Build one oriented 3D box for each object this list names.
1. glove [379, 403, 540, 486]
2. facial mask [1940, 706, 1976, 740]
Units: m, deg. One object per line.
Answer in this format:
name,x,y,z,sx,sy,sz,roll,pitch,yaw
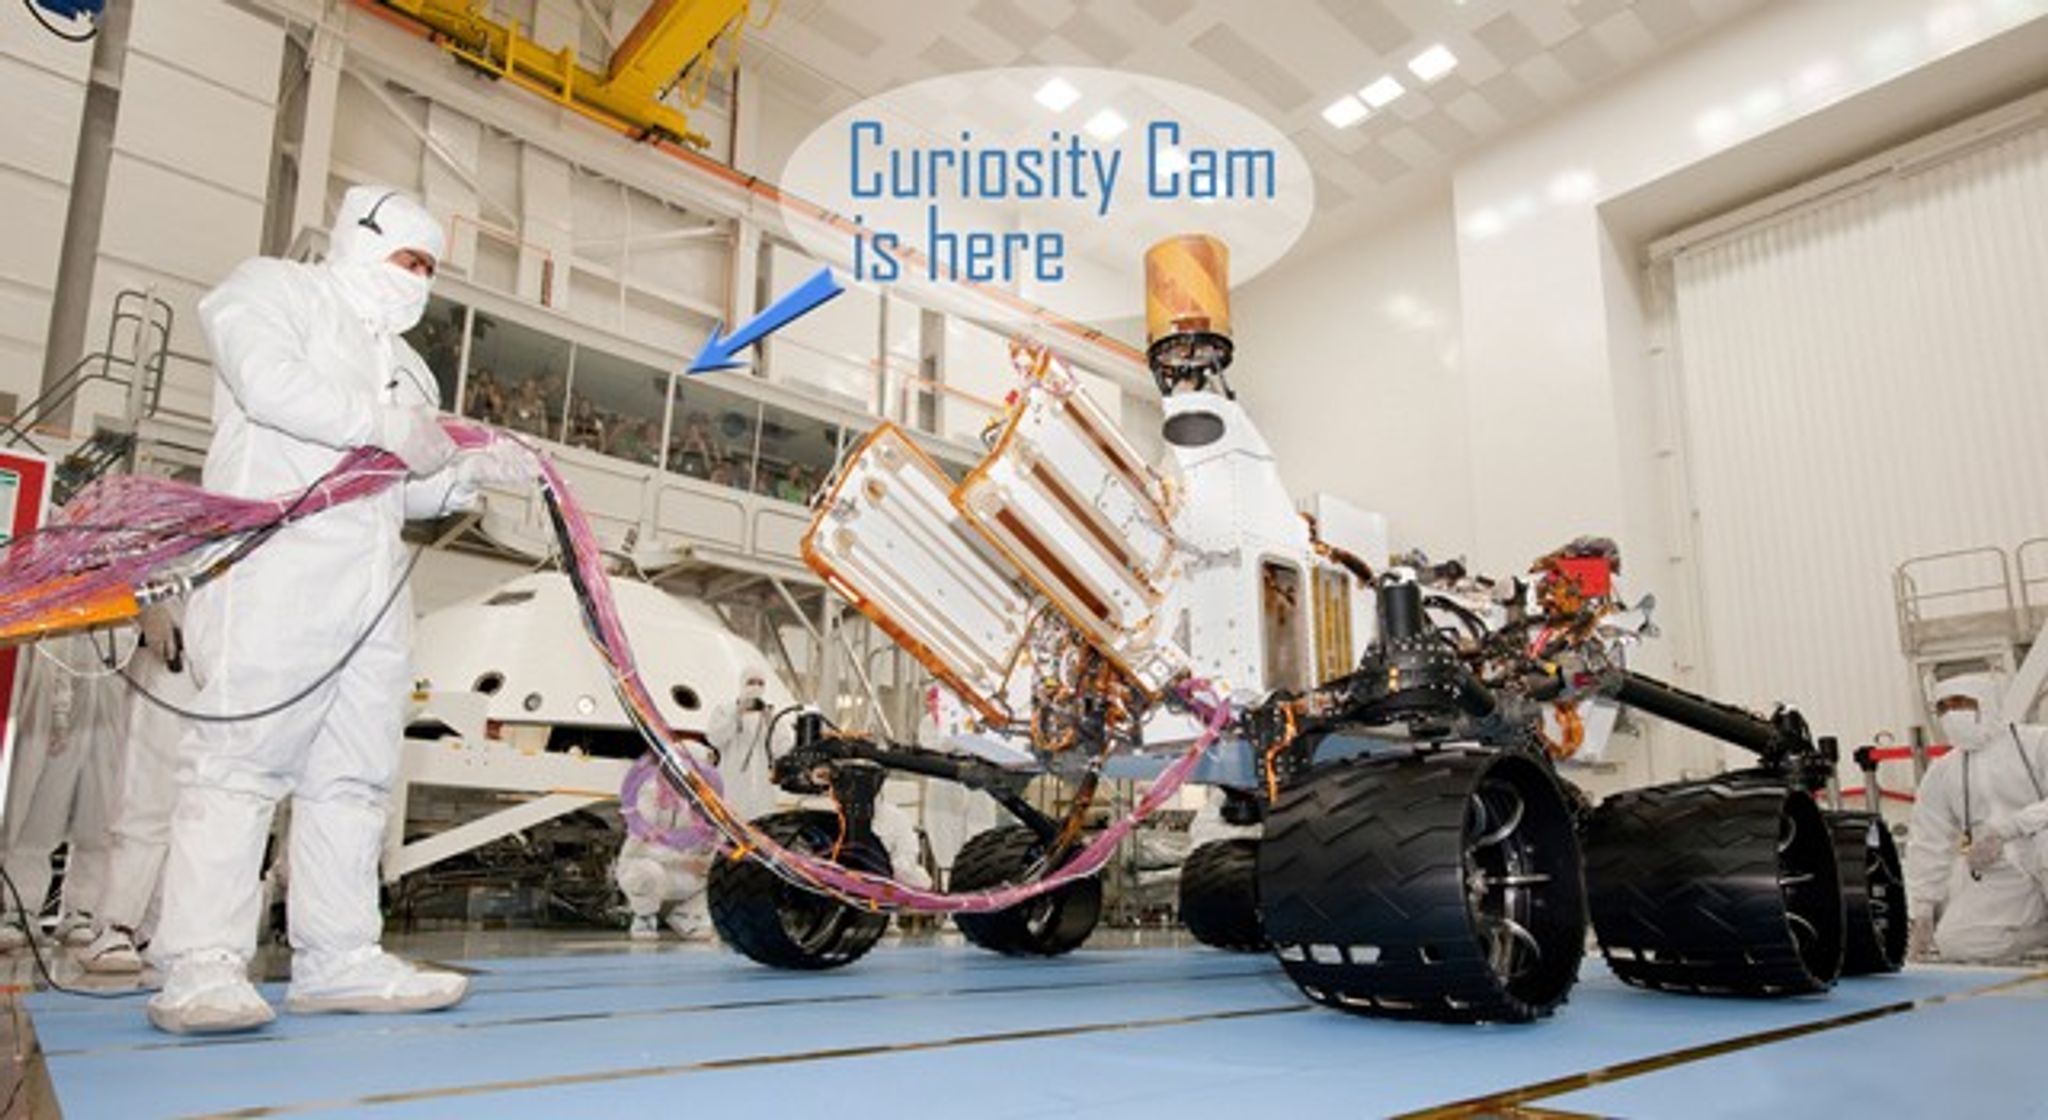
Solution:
glove,-4.070,-0.874,9.878,0.868,0.273,0.626,15,8,-43
facial mask,9.201,1.615,13.504,0.337,0.258,0.322,11,-19,-33
